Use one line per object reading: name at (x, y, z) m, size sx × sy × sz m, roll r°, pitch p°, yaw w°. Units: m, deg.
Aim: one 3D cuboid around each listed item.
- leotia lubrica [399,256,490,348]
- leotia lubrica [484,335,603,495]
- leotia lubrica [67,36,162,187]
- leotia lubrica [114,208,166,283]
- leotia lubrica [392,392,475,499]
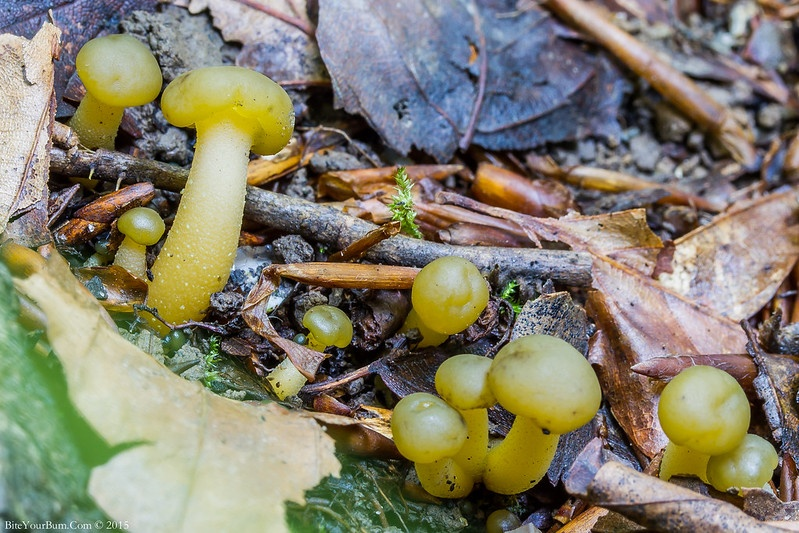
leotia lubrica at (0.205, 0.178, 3.569) m, size 0.214 × 0.324 × 0.249 m, roll -31°, pitch 89°, yaw -28°
leotia lubrica at (0.584, 0.630, 3.239) m, size 0.370 × 0.639 × 0.386 m, roll -24°, pitch 59°, yaw -38°
leotia lubrica at (-1.350, -0.722, 3.739) m, size 0.401 × 0.672 × 0.407 m, roll 20°, pitch 49°, yaw -18°
leotia lubrica at (-1.236, -0.051, 3.707) m, size 0.185 × 0.411 × 0.183 m, roll 12°, pitch 15°, yaw -20°
leotia lubrica at (0.148, 0.733, 3.281) m, size 0.203 × 0.386 × 0.231 m, roll -24°, pitch 48°, yaw -7°
